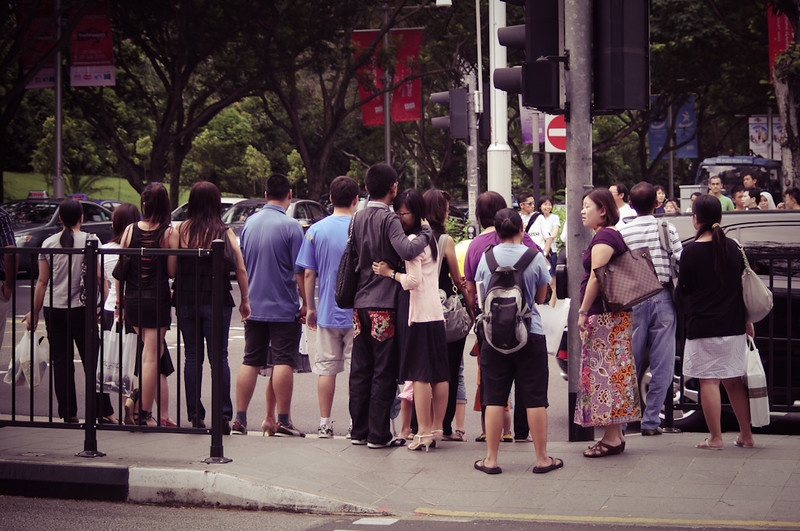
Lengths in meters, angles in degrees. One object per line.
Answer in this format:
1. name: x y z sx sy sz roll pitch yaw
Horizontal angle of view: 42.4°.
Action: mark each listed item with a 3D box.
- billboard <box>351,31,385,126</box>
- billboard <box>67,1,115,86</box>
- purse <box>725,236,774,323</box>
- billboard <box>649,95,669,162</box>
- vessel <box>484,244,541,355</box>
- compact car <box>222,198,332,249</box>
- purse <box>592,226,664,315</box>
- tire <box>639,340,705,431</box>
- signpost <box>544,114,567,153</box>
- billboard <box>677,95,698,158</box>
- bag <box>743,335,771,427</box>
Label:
1. billboard: -0.753 -5.599 30.445 1.011 3.105 0.080 -1 37 8
2. billboard: -7.756 -5.615 25.811 1.345 2.085 0.512 4 14 22
3. purse: 3.663 0.183 10.688 0.388 0.865 0.307 3 14 20
4. billboard: 10.471 -5.839 41.929 0.844 0.048 4.039 3 53 10
5. vessel: 1.066 0.356 10.222 0.503 0.979 0.485 0 13 7
6. compact car: -3.044 -1.271 25.614 1.410 1.303 3.348 1 -1 19
7. purse: 2.316 0.031 10.552 0.610 0.789 0.324 -25 1 -10
8. tire: 2.998 1.320 11.357 0.960 1.105 0.342 -1 -4 4
9. signpost: 2.405 -2.049 15.952 0.284 0.666 0.915 0 14 6
10. billboard: 11.818 -5.688 42.447 0.906 3.079 4.592 2 15 15
11. bag: 3.733 1.219 10.760 0.302 0.892 0.315 8 16 37
